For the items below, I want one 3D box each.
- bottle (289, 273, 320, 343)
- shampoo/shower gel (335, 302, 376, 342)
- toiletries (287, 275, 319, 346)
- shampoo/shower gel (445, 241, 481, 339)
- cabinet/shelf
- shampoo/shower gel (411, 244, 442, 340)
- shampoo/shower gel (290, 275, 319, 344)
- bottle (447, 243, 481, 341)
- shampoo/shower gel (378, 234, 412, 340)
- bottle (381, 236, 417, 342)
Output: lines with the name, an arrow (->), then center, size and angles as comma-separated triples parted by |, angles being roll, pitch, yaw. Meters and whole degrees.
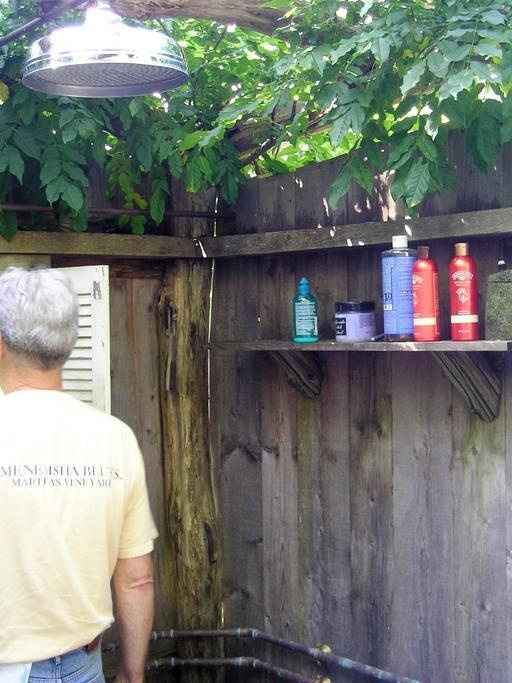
bottle -> 0.143, -0.106, 3.445 | 0.081, 0.198, 0.078 | 0, -1, 0
shampoo/shower gel -> 0.279, -0.062, 3.263 | 0.103, 0.115, 0.108 | -1, -1, 27
toiletries -> 0.142, -0.097, 3.441 | 0.067, 0.213, 0.082 | -1, -3, 41
shampoo/shower gel -> 0.545, -0.142, 2.969 | 0.068, 0.238, 0.088 | -1, -3, 27
cabinet/shelf -> 0.339, 0.103, 3.292 | 0.343, 0.233, 1.073 | -1, 2, -41
shampoo/shower gel -> 0.457, -0.133, 3.067 | 0.070, 0.256, 0.153 | 0, 1, 9
shampoo/shower gel -> 0.150, -0.101, 3.435 | 0.070, 0.204, 0.079 | -2, -3, 44
bottle -> 0.541, -0.133, 2.974 | 0.075, 0.253, 0.081 | 0, -2, 0
shampoo/shower gel -> 0.369, -0.157, 3.098 | 0.083, 0.275, 0.086 | -3, 6, -10
bottle -> 0.379, -0.149, 3.099 | 0.085, 0.291, 0.091 | 0, 7, 0
